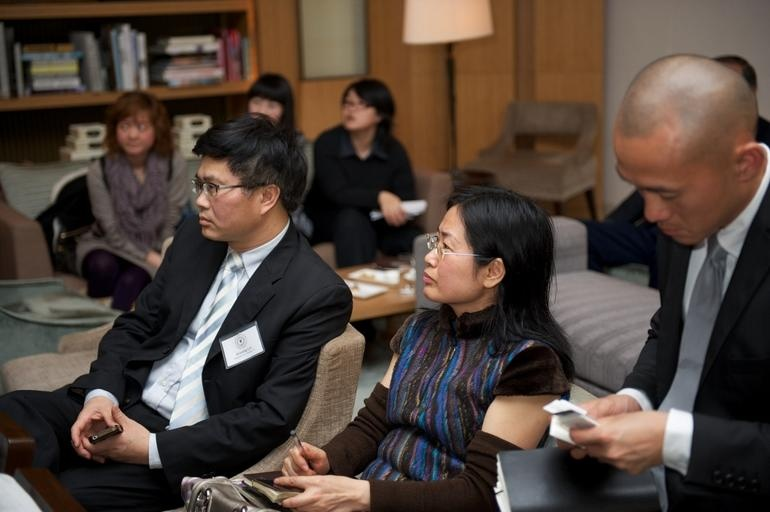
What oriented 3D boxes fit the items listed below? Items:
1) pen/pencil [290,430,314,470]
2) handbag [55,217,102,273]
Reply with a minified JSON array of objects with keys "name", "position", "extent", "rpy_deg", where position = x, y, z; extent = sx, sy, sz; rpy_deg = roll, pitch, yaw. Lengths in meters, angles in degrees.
[{"name":"pen/pencil","position":[-0.259,0.603,1.806],"extent":[0.026,0.145,0.023],"rpy_deg":[-24,7,47]},{"name":"handbag","position":[-1.802,-0.060,3.349],"extent":[0.208,0.262,0.105],"rpy_deg":[4,-2,-35]}]
